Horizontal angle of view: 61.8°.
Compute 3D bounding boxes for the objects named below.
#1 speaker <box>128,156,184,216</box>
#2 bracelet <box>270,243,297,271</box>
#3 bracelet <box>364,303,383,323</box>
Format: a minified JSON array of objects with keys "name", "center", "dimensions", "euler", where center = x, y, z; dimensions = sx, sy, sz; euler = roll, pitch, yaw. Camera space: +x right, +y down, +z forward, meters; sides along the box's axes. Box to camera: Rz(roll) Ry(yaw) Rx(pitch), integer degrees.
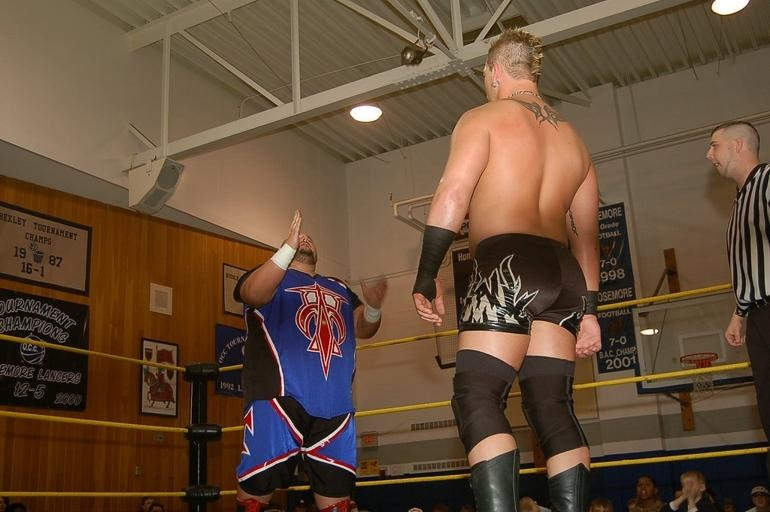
[{"name":"speaker","center":[-2.936,-0.893,8.132],"dimensions":[0.541,0.633,0.374],"euler":[-5,-17,18]},{"name":"bracelet","center":[-0.661,0.010,4.180],"dimensions":[0.131,0.152,0.125],"euler":[15,-26,-42]},{"name":"bracelet","center":[-0.102,0.411,4.626],"dimensions":[0.120,0.140,0.121],"euler":[-7,-12,31]}]
